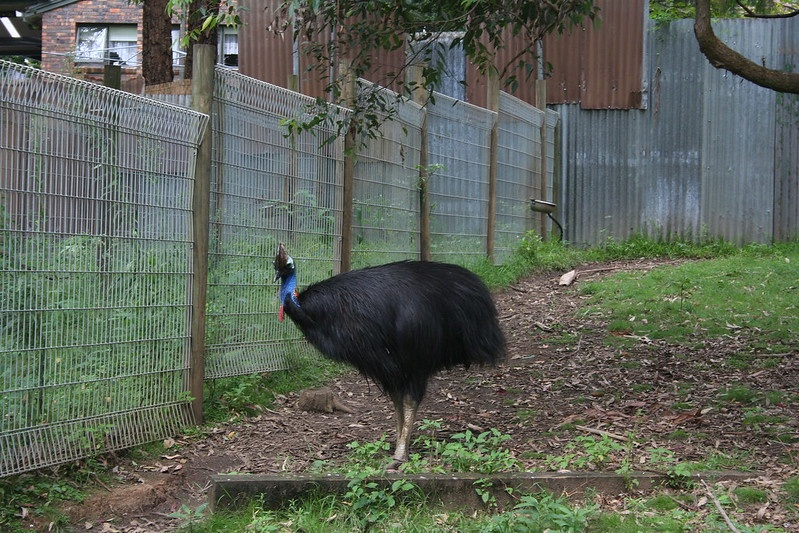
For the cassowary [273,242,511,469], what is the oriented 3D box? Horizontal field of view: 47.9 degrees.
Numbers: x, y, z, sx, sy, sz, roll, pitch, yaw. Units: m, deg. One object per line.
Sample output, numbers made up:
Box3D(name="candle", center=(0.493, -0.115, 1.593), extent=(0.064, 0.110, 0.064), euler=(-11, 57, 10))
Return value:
Box3D(name="cassowary", center=(-0.082, 0.691, 7.538), extent=(1.999, 1.712, 1.037), euler=(-1, -9, -16))
